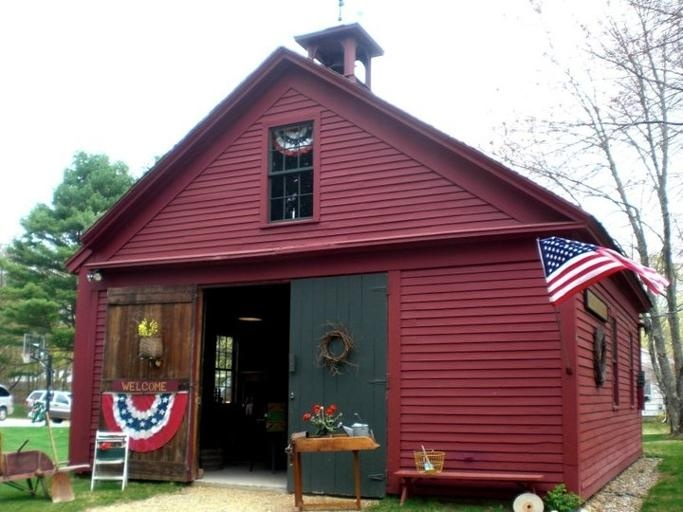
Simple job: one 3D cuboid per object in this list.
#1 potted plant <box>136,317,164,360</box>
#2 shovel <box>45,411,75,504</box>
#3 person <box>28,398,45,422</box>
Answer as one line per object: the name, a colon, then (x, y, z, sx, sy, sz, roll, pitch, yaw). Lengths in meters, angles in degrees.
potted plant: (-3.592, 1.518, 11.496, 0.546, 0.816, 0.333, 0, -15, -2)
shovel: (-4.620, 3.201, 9.920, 0.415, 1.503, 0.203, -13, -2, 10)
person: (-14.424, 7.245, 29.256, 0.559, 1.470, 1.074, 11, -6, -35)
